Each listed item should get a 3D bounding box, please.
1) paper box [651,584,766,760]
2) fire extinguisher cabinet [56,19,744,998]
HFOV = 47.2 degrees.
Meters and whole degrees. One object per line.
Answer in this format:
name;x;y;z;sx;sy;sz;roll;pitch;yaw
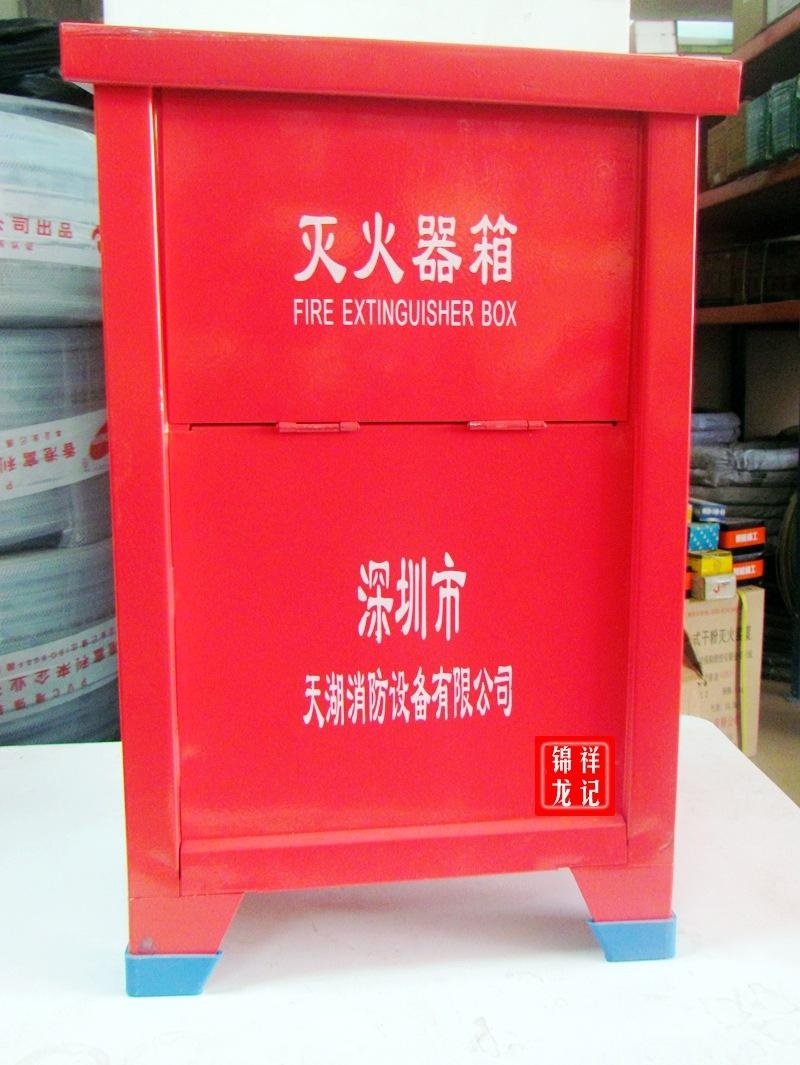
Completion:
paper box;0.887;0.395;2.679;0.267;0.401;0.224;-1;5;-7
fire extinguisher cabinet;-0.006;-0.045;1.054;0.617;0.875;0.619;2;10;13
